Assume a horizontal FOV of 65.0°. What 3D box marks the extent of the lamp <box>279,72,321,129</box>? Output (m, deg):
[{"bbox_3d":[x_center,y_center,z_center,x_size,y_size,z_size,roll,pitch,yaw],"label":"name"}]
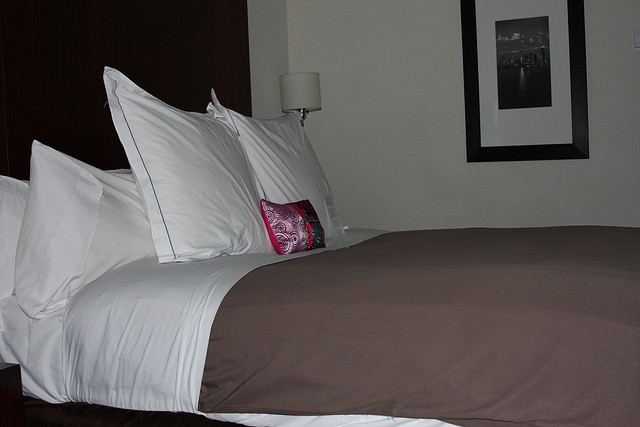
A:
[{"bbox_3d":[-0.140,-0.842,3.792,0.311,0.412,0.327,-6,9,-14],"label":"lamp"}]
